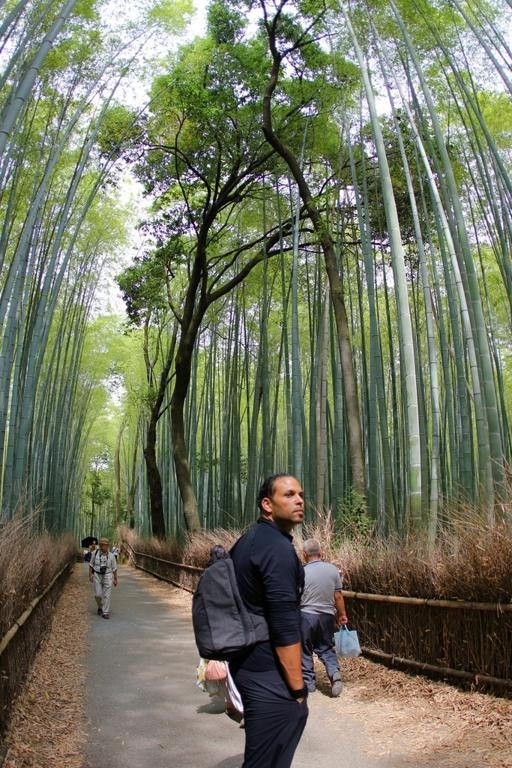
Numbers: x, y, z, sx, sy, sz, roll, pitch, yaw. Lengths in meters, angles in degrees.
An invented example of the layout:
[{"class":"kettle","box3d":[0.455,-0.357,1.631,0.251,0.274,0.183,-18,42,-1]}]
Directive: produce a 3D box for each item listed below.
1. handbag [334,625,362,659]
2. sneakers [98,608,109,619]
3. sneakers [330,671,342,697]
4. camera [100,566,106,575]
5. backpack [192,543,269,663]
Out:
[{"class":"handbag","box3d":[0.528,1.526,3.184,0.129,0.168,0.299,-3,-15,7]},{"class":"sneakers","box3d":[-1.823,2.773,6.471,0.078,0.125,0.274,10,-26,-19]},{"class":"sneakers","box3d":[0.433,1.651,2.939,0.043,0.146,0.095,-1,14,-1]},{"class":"camera","box3d":[-1.886,2.306,6.640,0.065,0.135,0.068,7,-19,-20]},{"class":"backpack","box3d":[-0.051,0.437,1.016,0.123,0.219,0.158,2,-44,-12]}]
